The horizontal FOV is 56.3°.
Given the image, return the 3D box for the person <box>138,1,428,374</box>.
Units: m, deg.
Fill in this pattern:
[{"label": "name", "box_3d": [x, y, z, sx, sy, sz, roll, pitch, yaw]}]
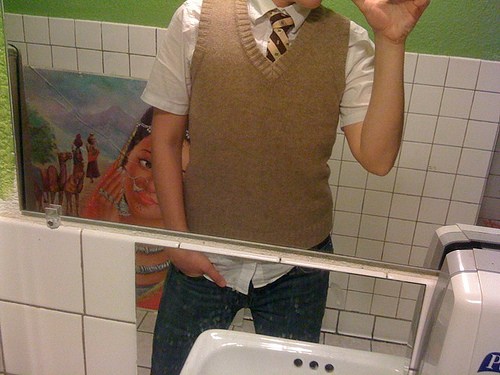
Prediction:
[{"label": "person", "box_3d": [0.027, 0.054, 1.171, 0.624, 1.038, 0.168, 10, 15, 18]}]
